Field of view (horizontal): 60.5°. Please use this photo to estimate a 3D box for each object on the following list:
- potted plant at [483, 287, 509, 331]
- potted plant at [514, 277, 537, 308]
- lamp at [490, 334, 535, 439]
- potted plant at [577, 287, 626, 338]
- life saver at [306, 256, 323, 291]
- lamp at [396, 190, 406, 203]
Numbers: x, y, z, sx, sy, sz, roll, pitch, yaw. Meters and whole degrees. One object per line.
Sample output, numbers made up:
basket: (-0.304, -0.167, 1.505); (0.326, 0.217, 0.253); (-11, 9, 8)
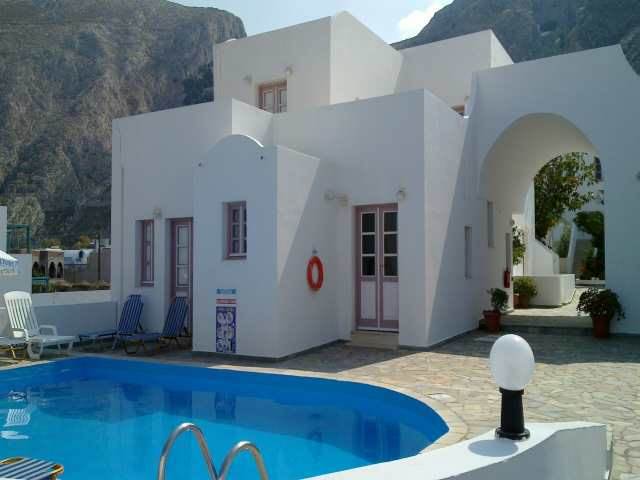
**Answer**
potted plant: (4.343, 1.698, 13.616); (0.589, 0.998, 0.501); (-3, 5, -4)
potted plant: (6.640, 1.687, 18.047); (0.876, 0.963, 0.428); (-4, 5, -13)
lamp: (1.847, 1.405, 5.313); (0.390, 1.045, 0.291); (-2, 5, 13)
potted plant: (6.317, 1.625, 12.429); (0.834, 1.099, 0.919); (-3, -4, 39)
life saver: (-0.134, 0.688, 11.595); (0.089, 0.810, 0.621); (0, 2, 33)
lamp: (1.739, -0.952, 11.741); (0.186, 0.288, 0.205); (-1, -5, 19)
